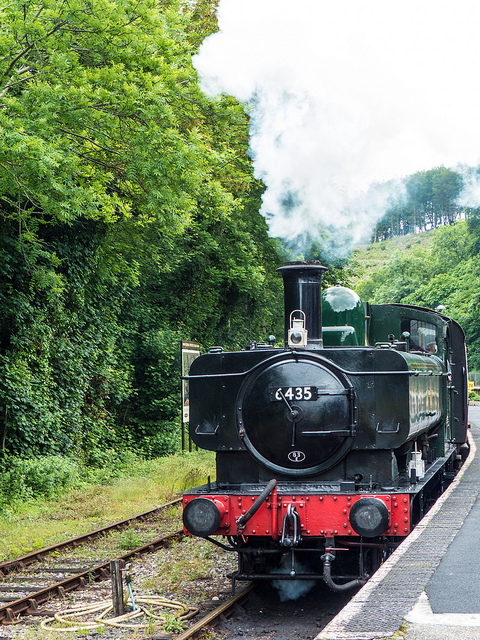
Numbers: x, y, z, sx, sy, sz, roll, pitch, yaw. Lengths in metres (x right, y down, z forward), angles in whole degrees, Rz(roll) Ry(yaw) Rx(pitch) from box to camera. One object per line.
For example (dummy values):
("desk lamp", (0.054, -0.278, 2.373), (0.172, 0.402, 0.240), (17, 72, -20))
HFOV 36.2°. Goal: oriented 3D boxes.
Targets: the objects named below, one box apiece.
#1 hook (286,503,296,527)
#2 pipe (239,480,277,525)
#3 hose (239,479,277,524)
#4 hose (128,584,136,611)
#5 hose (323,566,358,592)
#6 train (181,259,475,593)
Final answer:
("hook", (0.419, 1.585, 5.982), (0.069, 0.177, 0.086), (-1, -4, 3))
("pipe", (0.148, 1.535, 6.130), (0.085, 0.409, 0.106), (36, 11, -19))
("hose", (0.143, 1.498, 6.051), (0.270, 0.363, 0.163), (-3, -4, 28))
("hose", (-0.926, 2.328, 6.189), (0.054, 0.220, 0.057), (-11, 0, 24))
("hose", (0.786, 2.024, 5.748), (0.259, 0.230, 0.183), (0, -4, -7))
("train", (0.944, 1.151, 8.635), (2.249, 2.546, 5.555), (-2, -2, 17))
